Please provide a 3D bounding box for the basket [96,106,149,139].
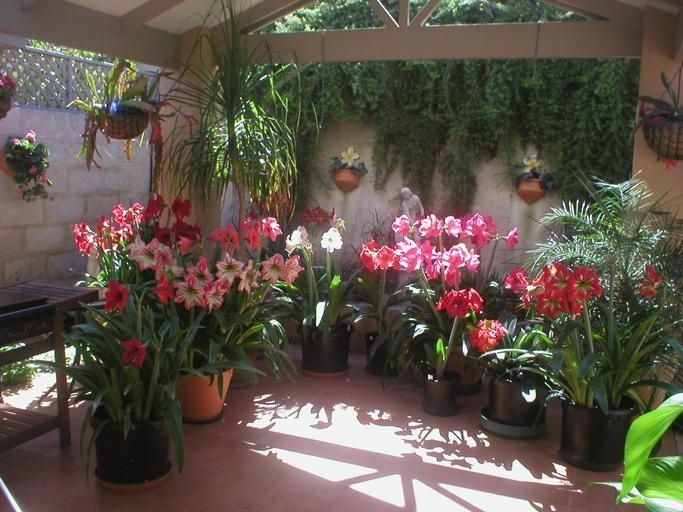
[{"bbox_3d":[-1.507,-0.908,3.381,0.227,0.176,0.232,-14,11,-43],"label":"basket"}]
